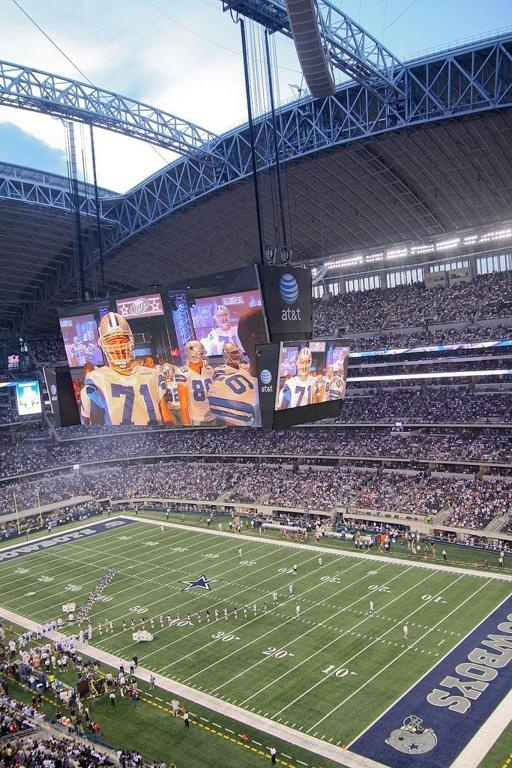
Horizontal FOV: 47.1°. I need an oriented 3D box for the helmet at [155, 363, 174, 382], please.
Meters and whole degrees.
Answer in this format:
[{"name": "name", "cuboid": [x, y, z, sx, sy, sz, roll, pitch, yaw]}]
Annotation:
[{"name": "helmet", "cuboid": [-2.933, -0.380, 19.105, 0.477, 0.690, 0.253, 6, 18, 10]}]
